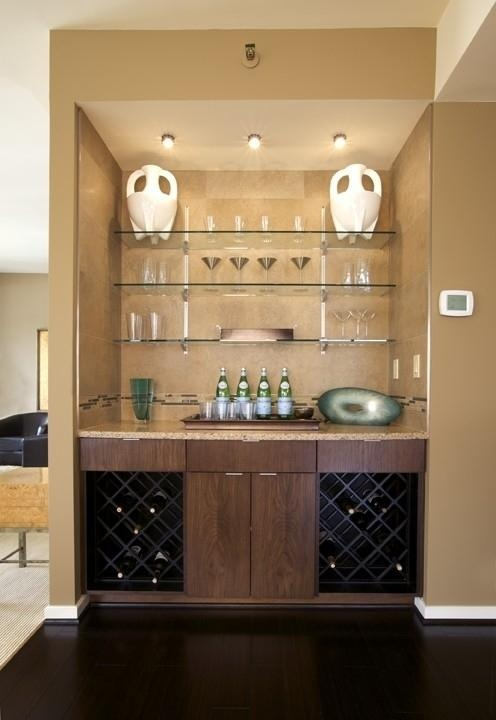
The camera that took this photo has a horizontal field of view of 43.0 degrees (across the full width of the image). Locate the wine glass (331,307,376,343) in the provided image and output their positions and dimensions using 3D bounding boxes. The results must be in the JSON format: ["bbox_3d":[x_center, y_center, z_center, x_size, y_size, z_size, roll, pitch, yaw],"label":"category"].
[{"bbox_3d":[0.594,-0.157,3.456,0.219,0.178,0.187,0,-18,-1],"label":"wine glass"}]

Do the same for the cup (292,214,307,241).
[{"bbox_3d":[0.265,-0.689,3.308,0.096,0.166,0.104,0,2,0],"label":"cup"}]

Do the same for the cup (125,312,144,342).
[{"bbox_3d":[-0.595,-0.171,3.337,0.126,0.196,0.122,0,-4,0],"label":"cup"}]

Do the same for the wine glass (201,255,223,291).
[{"bbox_3d":[-0.197,-0.479,3.506,0.155,0.204,0.171,0,-1,3],"label":"wine glass"}]

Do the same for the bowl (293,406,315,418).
[{"bbox_3d":[0.300,0.282,3.338,0.066,0.038,0.066,2,-8,0],"label":"bowl"}]

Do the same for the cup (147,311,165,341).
[{"bbox_3d":[-0.497,-0.179,3.400,0.076,0.143,0.074,0,3,0],"label":"cup"}]

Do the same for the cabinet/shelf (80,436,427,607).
[{"bbox_3d":[0.022,0.732,3.068,1.570,0.779,0.446,0,3,1],"label":"cabinet/shelf"}]
